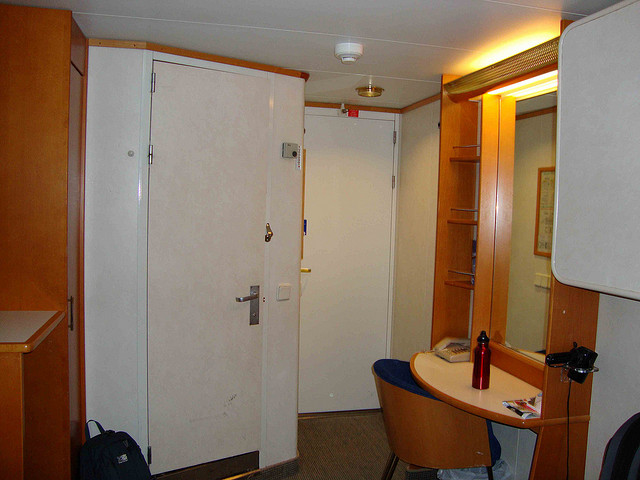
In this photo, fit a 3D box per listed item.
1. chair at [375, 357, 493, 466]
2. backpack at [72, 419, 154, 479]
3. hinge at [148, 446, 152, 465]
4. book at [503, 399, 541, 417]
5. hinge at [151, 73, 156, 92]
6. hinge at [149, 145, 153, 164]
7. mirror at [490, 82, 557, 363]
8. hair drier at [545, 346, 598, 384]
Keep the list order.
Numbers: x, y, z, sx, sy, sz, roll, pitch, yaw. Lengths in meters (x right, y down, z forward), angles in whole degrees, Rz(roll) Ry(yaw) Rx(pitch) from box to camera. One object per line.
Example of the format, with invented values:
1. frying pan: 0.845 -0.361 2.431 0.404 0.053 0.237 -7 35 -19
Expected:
1. chair: 0.637 0.918 3.055 0.484 0.478 0.582 -4 -1 -9
2. backpack: -1.214 1.209 3.057 0.209 0.418 0.295 -37 -24 22
3. hinge: -1.031 1.306 3.212 0.024 0.107 0.019 -6 14 -21
4. book: 1.085 0.895 2.830 0.188 0.020 0.137 -5 16 -12
5. hinge: -0.970 -0.916 3.095 0.020 0.106 0.037 1 14 10
6. hinge: -0.989 -0.499 3.108 0.020 0.107 0.023 -1 13 2
7. mirror: 1.221 -0.106 3.160 0.232 1.582 0.644 -4 14 -12
8. hair drier: 1.326 0.650 2.730 0.350 0.182 0.086 -6 15 -18
